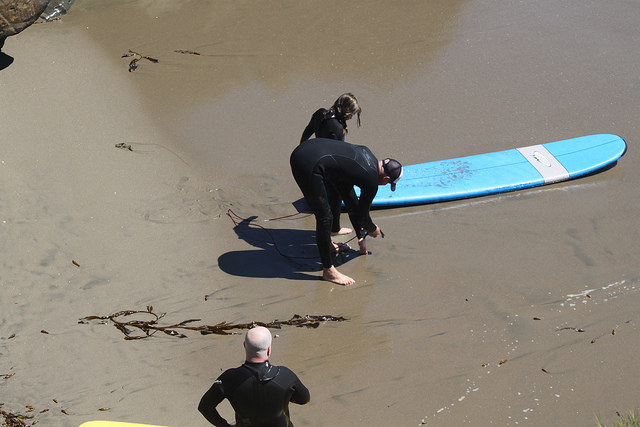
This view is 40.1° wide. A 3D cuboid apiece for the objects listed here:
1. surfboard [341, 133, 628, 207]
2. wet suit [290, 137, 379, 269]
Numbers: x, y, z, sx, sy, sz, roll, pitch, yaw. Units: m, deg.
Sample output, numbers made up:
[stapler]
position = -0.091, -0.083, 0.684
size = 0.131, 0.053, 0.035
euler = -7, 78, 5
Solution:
[surfboard]
position = 2.496, -0.594, 13.004
size = 3.580, 0.370, 0.740
euler = -8, 52, -2
[wet suit]
position = 0.191, -0.222, 11.440
size = 1.580, 1.645, 1.101
euler = -1, 44, -4
